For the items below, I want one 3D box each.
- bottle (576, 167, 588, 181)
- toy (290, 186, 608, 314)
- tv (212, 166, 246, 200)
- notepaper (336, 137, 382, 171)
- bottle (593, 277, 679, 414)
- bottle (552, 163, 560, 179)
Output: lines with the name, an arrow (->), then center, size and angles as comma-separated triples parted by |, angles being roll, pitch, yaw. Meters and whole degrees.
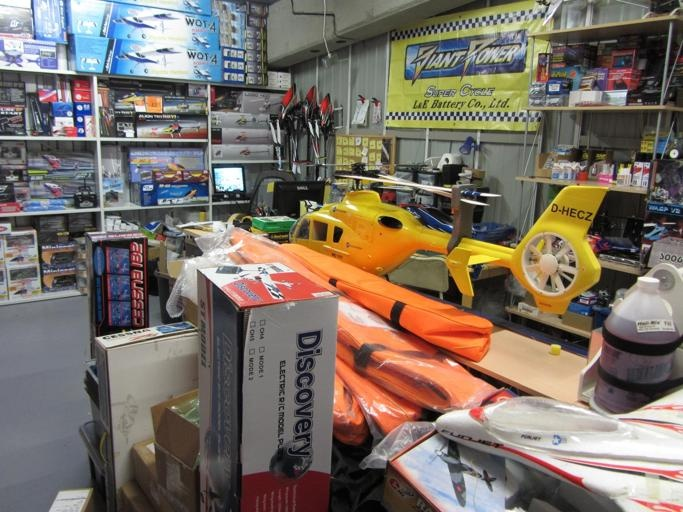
bottle -> 1.714, -0.601, 3.427 | 0.085, 0.086, 0.095 | -9, 14, -42
toy -> 0.333, -0.119, 2.475 | 0.521, 0.631, 1.875 | -11, 19, -41
tv -> -1.471, -0.960, 6.208 | 0.477, 0.401, 0.171 | -5, 7, -40
notepaper -> 0.199, -1.176, 5.364 | 0.260, 0.347, 0.742 | -6, 16, -24
bottle -> 0.881, 0.286, 1.434 | 0.187, 0.404, 0.091 | 9, 17, 28
bottle -> 1.564, -0.635, 3.539 | 0.063, 0.105, 0.027 | 3, -13, 24
